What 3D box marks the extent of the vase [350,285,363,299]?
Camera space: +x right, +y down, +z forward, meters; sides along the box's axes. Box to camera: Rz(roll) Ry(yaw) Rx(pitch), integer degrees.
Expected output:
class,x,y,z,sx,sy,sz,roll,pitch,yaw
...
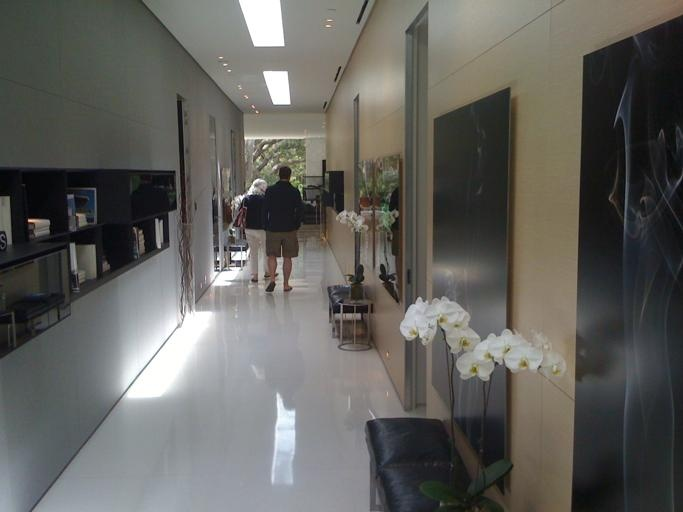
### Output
class,x,y,z,sx,sy,sz,roll,pitch,yaw
vase,0.186,0.454,6.410,0.141,0.191,0.158,0,6,4

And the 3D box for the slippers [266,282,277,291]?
class,x,y,z,sx,sy,sz,roll,pitch,yaw
slippers,-1.354,0.573,9.418,0.176,0.198,0.329,-1,9,-7

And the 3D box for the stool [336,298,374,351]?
class,x,y,z,sx,sy,sz,roll,pitch,yaw
stool,0.228,0.909,6.629,0.450,0.624,0.485,12,-4,-29

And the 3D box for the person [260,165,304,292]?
class,x,y,z,sx,sy,sz,roll,pitch,yaw
person,-1.110,-0.448,9.530,0.686,2.174,0.545,-2,7,-11
